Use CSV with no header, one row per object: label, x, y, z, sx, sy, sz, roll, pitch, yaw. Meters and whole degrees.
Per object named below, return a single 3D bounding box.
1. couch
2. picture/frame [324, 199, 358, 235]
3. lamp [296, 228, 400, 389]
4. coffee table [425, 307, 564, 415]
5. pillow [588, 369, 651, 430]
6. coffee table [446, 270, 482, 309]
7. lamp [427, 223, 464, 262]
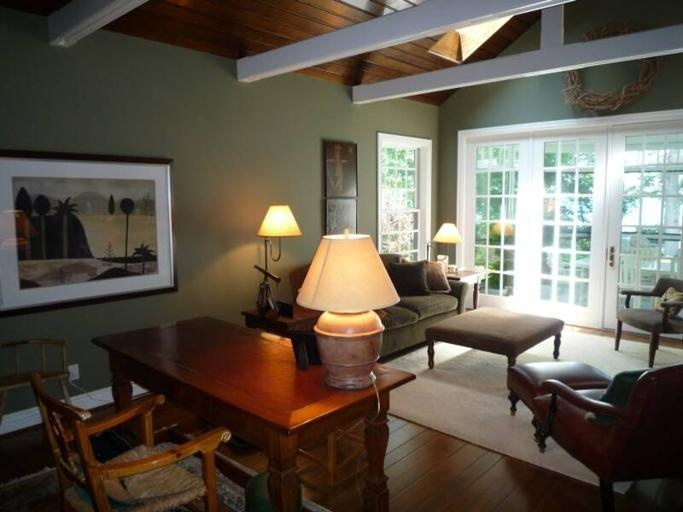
couch,0.349,0.458,4.249,0.473,0.467,1.086,4,9,38
picture/frame,-0.033,-0.493,6.202,0.084,0.609,0.642,2,4,43
lamp,0.041,0.311,3.057,0.612,0.903,0.599,1,7,18
coffee table,1.498,1.115,5.137,0.741,0.418,1.057,5,11,42
pillow,1.759,0.836,3.146,0.286,0.387,0.329,-4,8,-31
coffee table,1.756,0.476,6.859,0.481,0.423,0.520,-6,-8,-3
lamp,1.401,-0.171,6.722,0.296,0.491,0.322,3,8,34
